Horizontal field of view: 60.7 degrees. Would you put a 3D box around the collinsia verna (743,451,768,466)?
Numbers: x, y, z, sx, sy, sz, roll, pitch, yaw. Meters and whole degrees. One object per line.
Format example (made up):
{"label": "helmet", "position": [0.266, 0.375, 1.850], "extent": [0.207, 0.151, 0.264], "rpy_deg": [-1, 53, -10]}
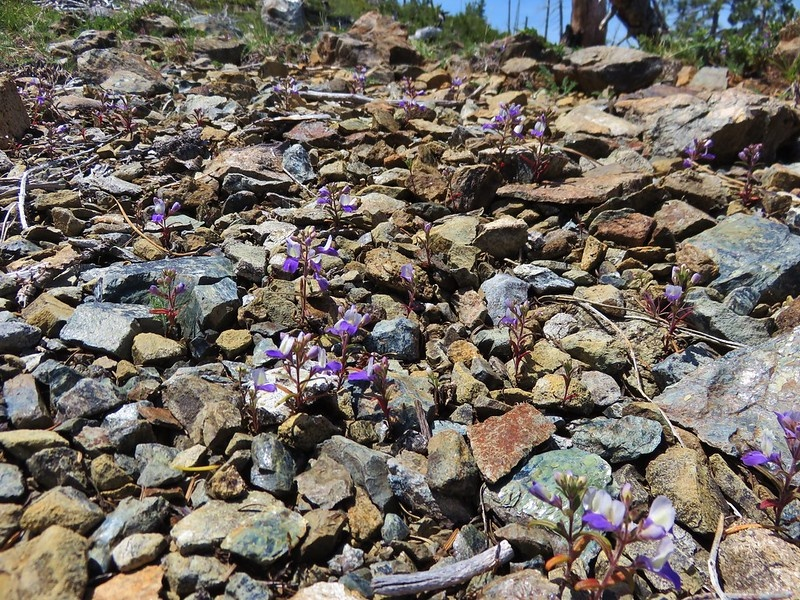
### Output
{"label": "collinsia verna", "position": [2.252, 1.001, 4.331], "extent": [0.099, 0.116, 0.055], "rpy_deg": [24, 54, -27]}

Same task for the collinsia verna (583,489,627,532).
{"label": "collinsia verna", "position": [1.144, 1.198, 3.844], "extent": [0.228, 0.187, 0.173], "rpy_deg": [19, 42, 21]}

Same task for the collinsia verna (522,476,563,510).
{"label": "collinsia verna", "position": [0.893, 1.209, 4.270], "extent": [0.326, 0.123, 0.101], "rpy_deg": [38, 90, 13]}
